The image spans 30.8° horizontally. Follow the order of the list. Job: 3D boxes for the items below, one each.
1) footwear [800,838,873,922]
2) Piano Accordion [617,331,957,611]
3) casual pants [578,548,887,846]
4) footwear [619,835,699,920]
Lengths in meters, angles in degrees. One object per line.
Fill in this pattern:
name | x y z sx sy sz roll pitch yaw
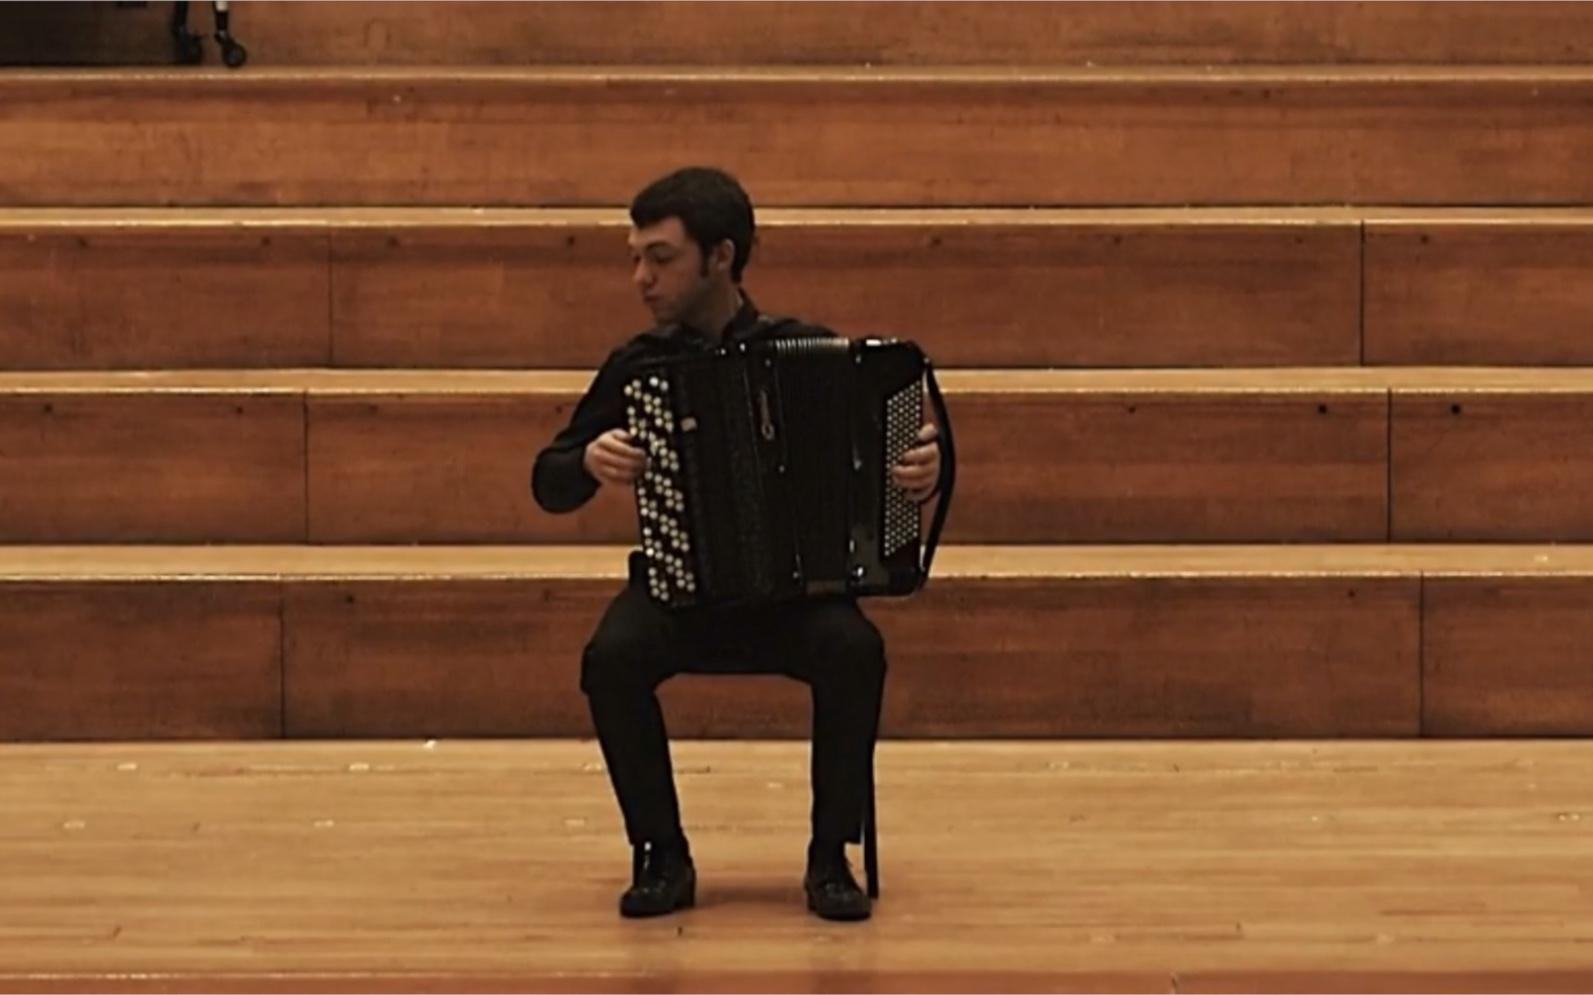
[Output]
footwear | 0.093 0.827 6.466 0.087 0.159 0.240 10 4 -28
Piano Accordion | -0.097 -0.076 6.502 0.818 0.621 0.502 4 -3 35
casual pants | -0.106 0.464 6.638 0.762 0.838 0.611 1 -32 -1
footwear | -0.308 0.819 6.476 0.104 0.193 0.217 -2 0 36
